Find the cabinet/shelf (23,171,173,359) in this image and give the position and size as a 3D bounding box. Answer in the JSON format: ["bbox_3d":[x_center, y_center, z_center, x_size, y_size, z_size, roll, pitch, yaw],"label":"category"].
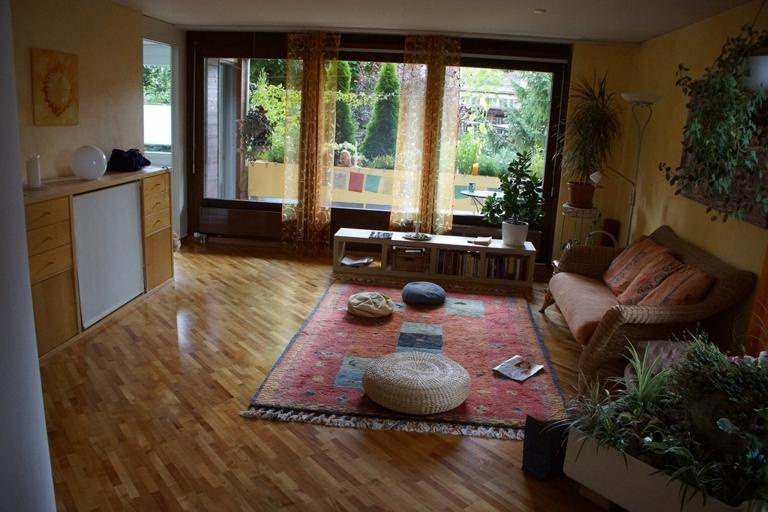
[{"bbox_3d":[-2.570,0.090,4.623,0.482,0.990,1.595,3,14,8],"label":"cabinet/shelf"}]

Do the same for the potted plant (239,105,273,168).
[{"bbox_3d":[-1.830,-1.733,7.597,0.423,0.679,0.253,22,20,9],"label":"potted plant"}]

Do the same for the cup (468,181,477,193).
[{"bbox_3d":[1.241,-0.969,7.338,0.118,0.143,0.100,0,2,-2],"label":"cup"}]

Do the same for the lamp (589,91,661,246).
[{"bbox_3d":[2.907,-1.014,6.271,0.409,1.778,1.545,9,16,22],"label":"lamp"}]

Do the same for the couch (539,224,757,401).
[{"bbox_3d":[2.241,0.419,4.469,1.290,1.007,2.045,-4,17,6],"label":"couch"}]

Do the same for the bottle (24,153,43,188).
[{"bbox_3d":[-3.003,-0.723,4.434,0.110,0.254,0.321,-7,18,-35],"label":"bottle"}]

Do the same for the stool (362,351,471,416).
[{"bbox_3d":[0.242,0.985,4.017,0.813,0.264,0.502,3,15,-2],"label":"stool"}]

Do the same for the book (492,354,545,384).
[{"bbox_3d":[1.172,0.968,4.519,0.318,0.081,0.452,17,20,42],"label":"book"}]
